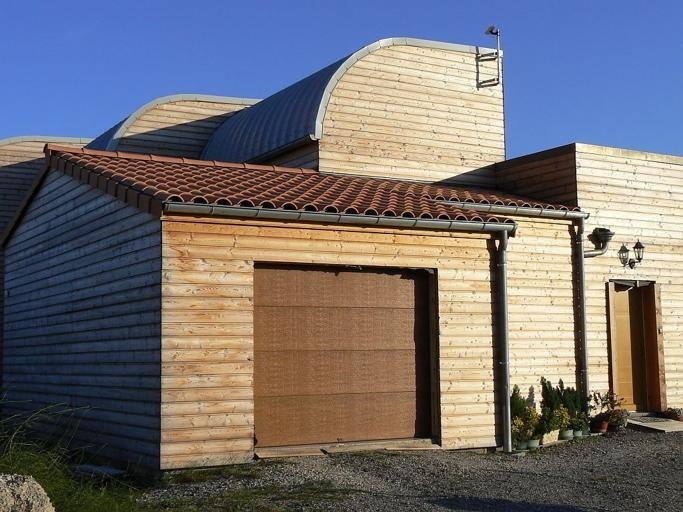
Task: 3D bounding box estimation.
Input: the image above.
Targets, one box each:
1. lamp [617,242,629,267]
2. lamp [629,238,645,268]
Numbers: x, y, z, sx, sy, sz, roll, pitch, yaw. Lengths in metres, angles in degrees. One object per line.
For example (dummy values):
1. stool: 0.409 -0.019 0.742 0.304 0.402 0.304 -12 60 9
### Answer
1. lamp: 6.020 -0.022 18.553 0.246 0.464 0.243 5 6 15
2. lamp: 6.338 -0.031 18.650 0.212 0.580 0.569 7 6 25
